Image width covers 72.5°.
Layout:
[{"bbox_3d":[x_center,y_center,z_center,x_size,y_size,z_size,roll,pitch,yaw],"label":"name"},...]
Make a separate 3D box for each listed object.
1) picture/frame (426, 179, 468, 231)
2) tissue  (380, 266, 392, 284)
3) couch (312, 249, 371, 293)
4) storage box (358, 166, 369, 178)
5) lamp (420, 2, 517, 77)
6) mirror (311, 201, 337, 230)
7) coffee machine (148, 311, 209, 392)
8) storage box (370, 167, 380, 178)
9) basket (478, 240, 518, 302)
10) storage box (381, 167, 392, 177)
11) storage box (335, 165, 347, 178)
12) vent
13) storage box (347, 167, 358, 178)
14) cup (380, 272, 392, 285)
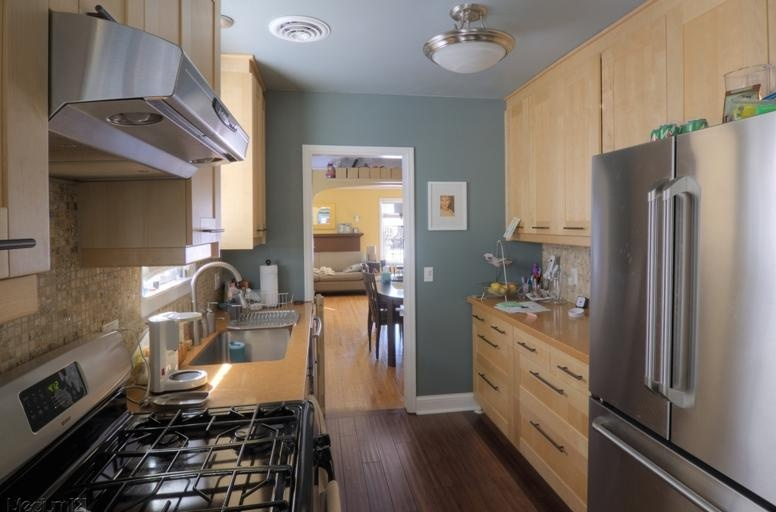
[{"bbox_3d":[0.451,-0.404,4.185,0.396,0.489,0.036,0,-2,-12],"label":"picture/frame"},{"bbox_3d":[-0.035,0.244,6.424,0.153,0.291,0.161,2,2,2],"label":"tissue "},{"bbox_3d":[-0.939,0.335,10.395,1.009,0.702,1.119,-2,9,-6],"label":"couch"},{"bbox_3d":[-0.336,-1.182,7.588,0.174,0.181,0.130,1,-3,-3],"label":"storage box"},{"bbox_3d":[0.451,-1.209,2.966,0.418,0.295,0.352,-5,10,-25],"label":"lamp"},{"bbox_3d":[-1.331,-0.845,11.266,0.480,0.631,0.239,-2,9,-5],"label":"mirror"},{"bbox_3d":[-0.872,0.355,2.348,0.268,0.394,0.400,0,1,-15],"label":"coffee machine"},{"bbox_3d":[-0.176,-1.188,7.642,0.145,0.146,0.142,0,-4,-3],"label":"storage box"},{"bbox_3d":[0.871,0.114,4.138,0.283,0.421,0.403,1,9,12],"label":"basket"},{"bbox_3d":[-0.021,-1.198,7.671,0.170,0.154,0.071,-3,9,-12],"label":"storage box"},{"bbox_3d":[-0.657,-1.182,7.486,0.135,0.136,0.137,1,-2,-3],"label":"storage box"},{"bbox_3d":[-0.811,-0.480,1.941,0.469,0.283,0.881,0,-5,-3],"label":"vent"},{"bbox_3d":[-0.496,-1.175,7.556,0.168,0.142,0.087,-2,9,-7],"label":"storage box"},{"bbox_3d":[-0.022,0.272,6.222,0.111,0.162,0.113,0,-8,0],"label":"cup"}]
